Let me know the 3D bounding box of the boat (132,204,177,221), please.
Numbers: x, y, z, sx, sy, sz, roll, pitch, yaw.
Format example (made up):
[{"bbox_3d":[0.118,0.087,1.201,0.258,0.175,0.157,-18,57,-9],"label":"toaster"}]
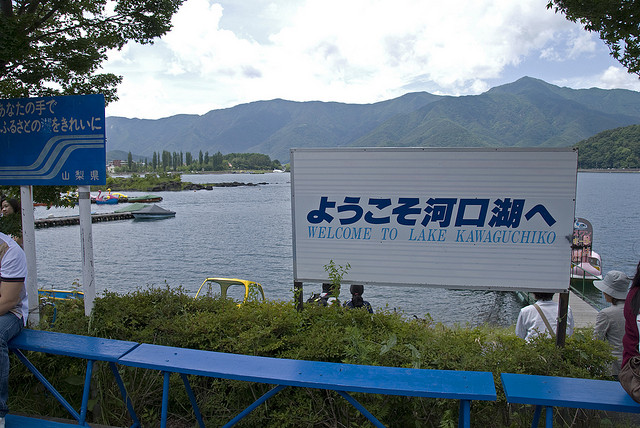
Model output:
[{"bbox_3d":[-24.026,-0.263,83.105,5.635,2.171,3.925,-1,2,-33],"label":"boat"}]

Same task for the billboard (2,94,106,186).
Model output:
[{"bbox_3d":[-5.115,-1.451,11.234,2.593,1.767,0.055,0,0,9],"label":"billboard"}]

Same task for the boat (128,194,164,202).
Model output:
[{"bbox_3d":[-37.983,-3.538,125.841,5.878,1.352,2.875,2,6,21],"label":"boat"}]

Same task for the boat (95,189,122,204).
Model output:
[{"bbox_3d":[-44.386,-3.213,119.676,4.391,2.448,3.156,1,10,18],"label":"boat"}]

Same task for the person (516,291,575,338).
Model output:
[{"bbox_3d":[4.205,1.971,10.775,1.068,0.966,0.572,-5,-2,10],"label":"person"}]

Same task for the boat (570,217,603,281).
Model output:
[{"bbox_3d":[13.957,1.757,30.178,1.322,3.185,5.623,2,2,24],"label":"boat"}]

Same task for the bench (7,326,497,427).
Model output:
[{"bbox_3d":[-1.376,2.721,9.033,7.402,1.529,1.218,1,2,10],"label":"bench"}]
